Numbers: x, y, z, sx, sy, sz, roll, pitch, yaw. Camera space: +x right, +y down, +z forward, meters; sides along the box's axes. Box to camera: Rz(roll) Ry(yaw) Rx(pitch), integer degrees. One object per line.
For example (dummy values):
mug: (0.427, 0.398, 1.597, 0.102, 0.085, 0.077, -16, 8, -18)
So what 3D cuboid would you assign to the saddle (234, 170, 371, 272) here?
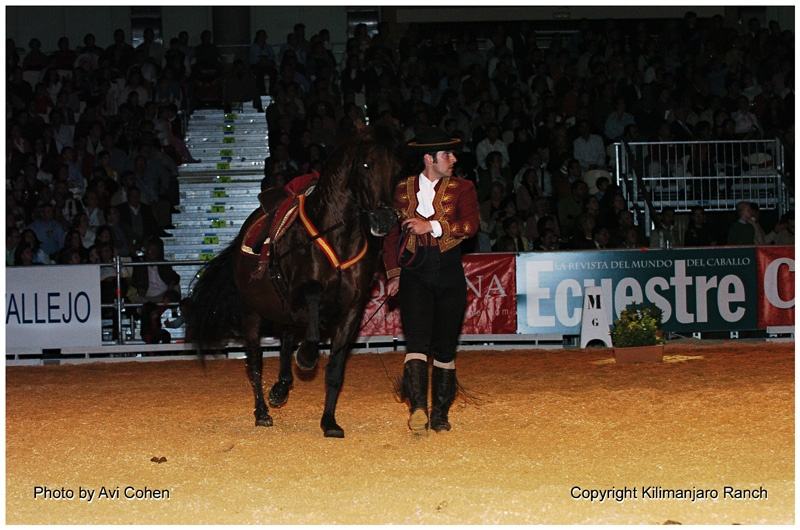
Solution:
saddle: (-1.448, -0.593, 12.043, 1.789, 0.860, 1.213, -8, -5, 38)

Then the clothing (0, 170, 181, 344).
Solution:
clothing: (-6.210, -0.080, 19.005, 3.809, 3.146, 2.815, 7, 13, 40)

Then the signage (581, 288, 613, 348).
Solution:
signage: (3.876, 0.999, 17.831, 0.628, 1.441, 0.530, 1, 28, 18)

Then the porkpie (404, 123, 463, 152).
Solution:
porkpie: (0.441, -1.635, 11.585, 0.683, 0.315, 0.593, 0, 10, 5)

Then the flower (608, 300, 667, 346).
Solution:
flower: (4.299, 1.108, 16.277, 0.863, 0.613, 0.863, -1, 6, -2)
